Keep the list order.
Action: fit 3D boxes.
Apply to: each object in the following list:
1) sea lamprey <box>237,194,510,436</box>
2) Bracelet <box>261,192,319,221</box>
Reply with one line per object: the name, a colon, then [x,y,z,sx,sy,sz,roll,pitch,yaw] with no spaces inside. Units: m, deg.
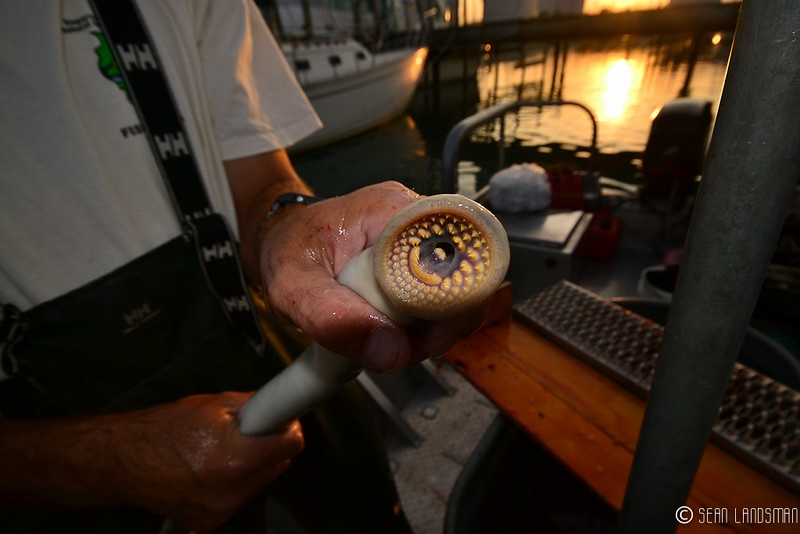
sea lamprey: [-0.034,0.053,1.459,0.491,0.555,0.606,10,20,15]
Bracelet: [-0.343,-0.199,1.628,0.130,0.047,0.095,-18,1,-21]
